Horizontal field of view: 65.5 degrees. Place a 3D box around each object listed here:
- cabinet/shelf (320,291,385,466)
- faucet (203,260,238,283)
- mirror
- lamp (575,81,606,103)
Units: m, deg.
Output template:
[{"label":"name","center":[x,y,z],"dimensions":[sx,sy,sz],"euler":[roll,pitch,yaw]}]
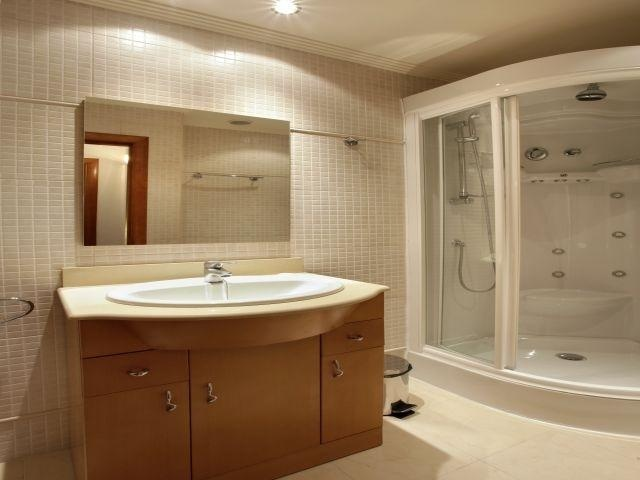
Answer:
[{"label":"cabinet/shelf","center":[0.190,0.739,2.674],"dimensions":[0.493,0.774,0.174],"euler":[-10,17,-34]},{"label":"faucet","center":[-0.578,0.180,2.795],"dimensions":[0.137,0.122,0.282],"euler":[-4,11,-12]},{"label":"mirror","center":[-0.840,-0.412,2.957],"dimensions":[1.365,0.684,0.019],"euler":[1,1,-27]},{"label":"lamp","center":[1.679,-0.905,3.070],"dimensions":[0.148,0.096,0.175],"euler":[11,16,44]}]
